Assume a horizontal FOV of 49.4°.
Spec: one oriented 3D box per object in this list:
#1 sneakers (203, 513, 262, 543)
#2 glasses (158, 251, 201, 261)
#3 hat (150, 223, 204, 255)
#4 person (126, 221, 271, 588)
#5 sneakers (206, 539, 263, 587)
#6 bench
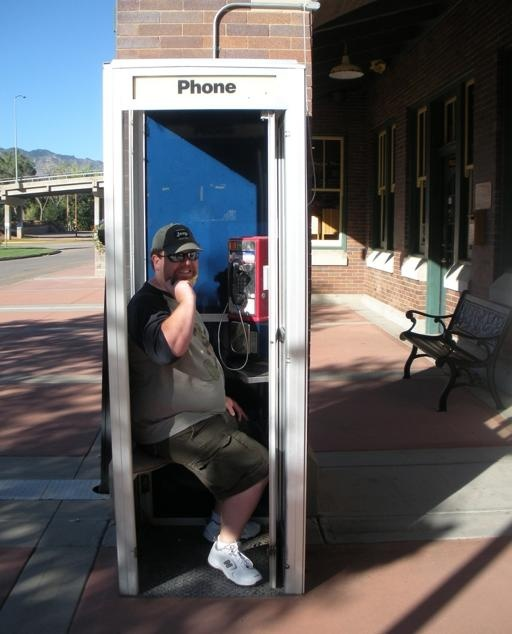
[{"bbox_3d":[-0.117,1.153,3.097,0.360,0.163,0.131,-3,18,-19],"label":"sneakers"},{"bbox_3d":[-0.345,-0.277,2.555,0.166,0.049,0.084,-2,4,-14],"label":"glasses"},{"bbox_3d":[-0.381,-0.361,2.577,0.140,0.113,0.198,-9,10,-42],"label":"hat"},{"bbox_3d":[-0.273,0.408,2.604,0.617,1.674,0.517,-2,4,-22],"label":"person"},{"bbox_3d":[-0.102,1.146,2.622,0.297,0.136,0.118,14,6,37],"label":"sneakers"},{"bbox_3d":[2.331,0.261,6.197,0.987,1.283,2.005,1,6,0],"label":"bench"}]
